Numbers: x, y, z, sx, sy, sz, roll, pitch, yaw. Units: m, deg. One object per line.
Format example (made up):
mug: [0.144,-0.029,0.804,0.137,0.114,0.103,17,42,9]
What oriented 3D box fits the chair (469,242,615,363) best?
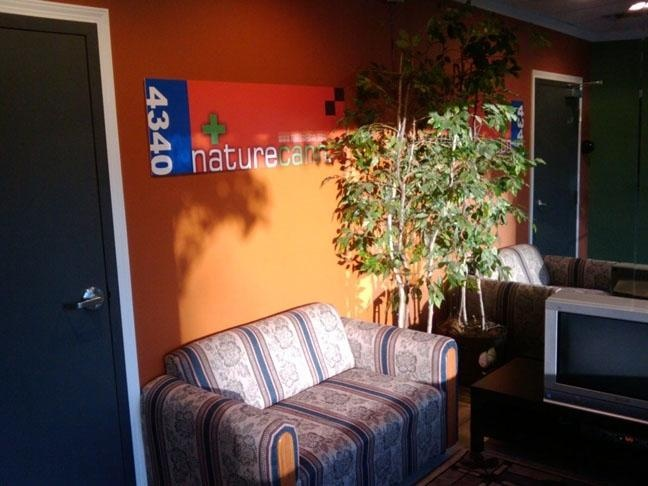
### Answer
chair: [1.837,0.475,4.321,0.949,0.792,1.265,3,11,42]

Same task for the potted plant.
potted plant: [1.195,-0.359,3.935,0.697,2.674,1.722,0,8,20]
